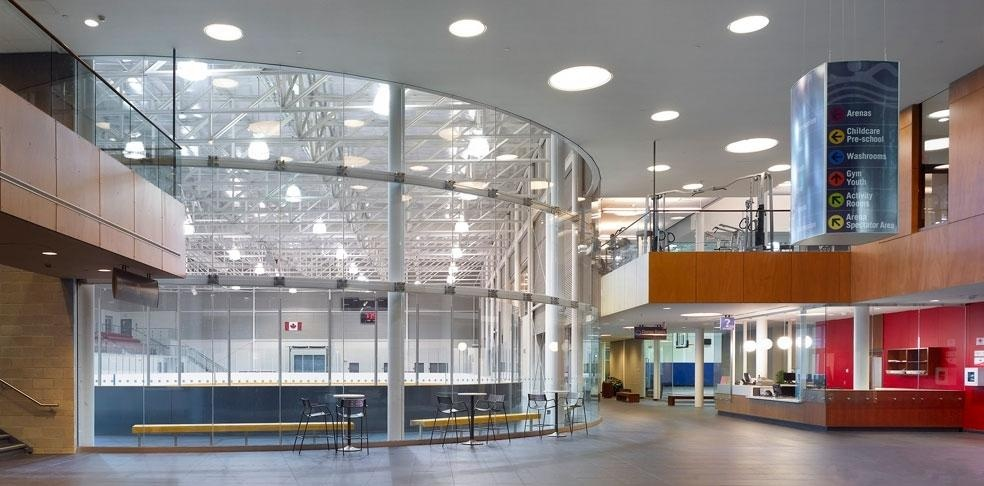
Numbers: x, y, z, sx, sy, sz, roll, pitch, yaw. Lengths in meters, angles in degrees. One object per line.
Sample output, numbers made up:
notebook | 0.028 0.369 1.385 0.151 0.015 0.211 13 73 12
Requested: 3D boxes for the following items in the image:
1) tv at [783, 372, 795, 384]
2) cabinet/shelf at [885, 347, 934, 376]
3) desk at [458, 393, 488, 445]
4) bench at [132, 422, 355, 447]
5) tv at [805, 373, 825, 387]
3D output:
tv | 10.931 4.893 31.195 0.574 0.459 0.418 0 -1 8
cabinet/shelf | 14.271 3.956 28.692 1.067 0.643 0.365 -4 -15 30
desk | -0.600 4.964 24.361 0.751 1.543 1.292 1 2 0
bench | -7.244 5.163 23.357 4.401 0.501 0.154 -1 5 -3
tv | 10.875 4.530 28.255 0.093 0.508 0.780 0 2 -26
